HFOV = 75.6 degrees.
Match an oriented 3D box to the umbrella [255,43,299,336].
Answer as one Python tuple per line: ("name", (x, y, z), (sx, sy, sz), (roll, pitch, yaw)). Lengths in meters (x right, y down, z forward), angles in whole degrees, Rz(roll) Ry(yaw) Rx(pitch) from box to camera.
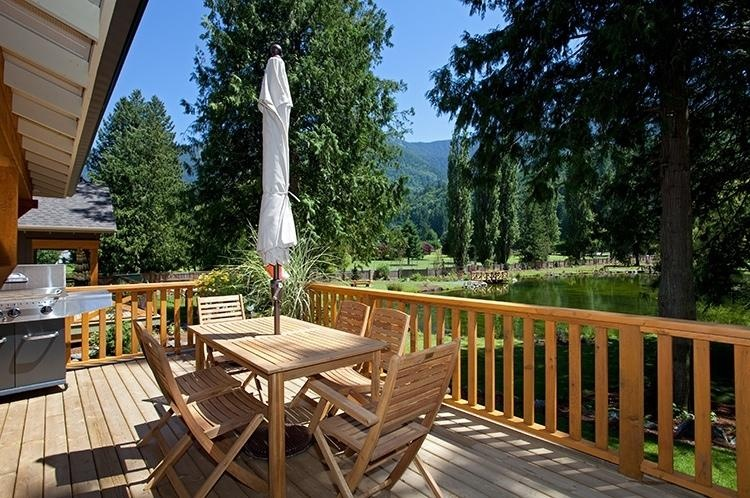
("umbrella", (-1.198, -0.944, 5.610), (0.465, 2.638, 0.494), (-4, -7, 18))

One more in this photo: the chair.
("chair", (-1.092, 1.465, 5.269), (2.512, 1.454, 1.901), (3, -2, -35))
